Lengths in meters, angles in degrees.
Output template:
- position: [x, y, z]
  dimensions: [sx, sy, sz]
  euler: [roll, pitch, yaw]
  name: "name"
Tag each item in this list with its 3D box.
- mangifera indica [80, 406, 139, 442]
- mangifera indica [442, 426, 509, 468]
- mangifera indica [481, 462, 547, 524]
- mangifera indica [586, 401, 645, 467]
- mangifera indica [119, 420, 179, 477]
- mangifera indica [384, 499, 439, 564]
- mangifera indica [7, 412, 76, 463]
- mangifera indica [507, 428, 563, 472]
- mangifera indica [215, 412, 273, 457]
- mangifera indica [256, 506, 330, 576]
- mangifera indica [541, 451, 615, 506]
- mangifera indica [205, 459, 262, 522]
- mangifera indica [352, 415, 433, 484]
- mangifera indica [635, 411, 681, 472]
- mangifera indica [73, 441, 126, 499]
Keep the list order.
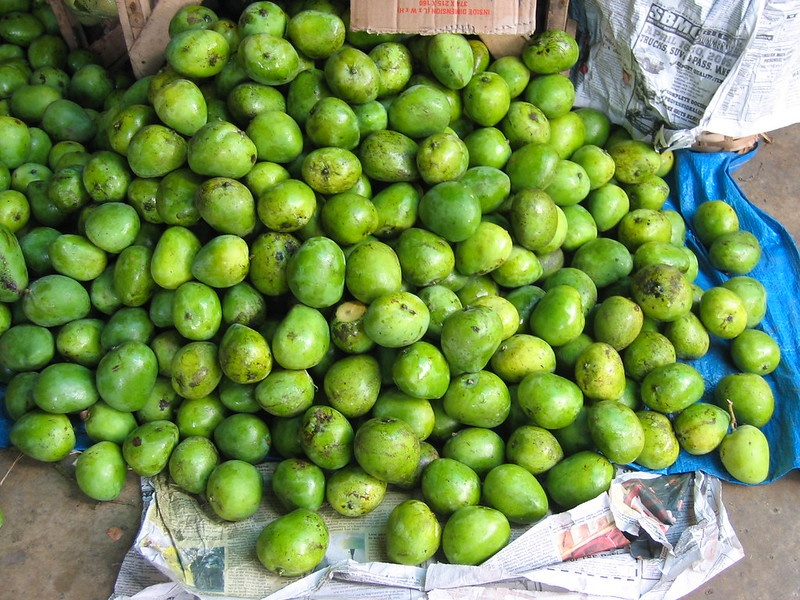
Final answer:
- position: [-1.548, 0.627, 3.820]
  dimensions: [0.237, 0.187, 0.185]
  euler: [32, 60, 2]
  name: "mangifera indica"
- position: [0.409, 0.803, 3.765]
  dimensions: [0.225, 0.264, 0.227]
  euler: [-19, 59, 26]
  name: "mangifera indica"
- position: [0.579, 0.996, 3.693]
  dimensions: [0.320, 0.246, 0.246]
  euler: [32, 64, 23]
  name: "mangifera indica"
- position: [1.113, 0.679, 3.858]
  dimensions: [0.244, 0.244, 0.334]
  euler: [-37, 92, 10]
  name: "mangifera indica"
- position: [-1.268, 0.754, 3.803]
  dimensions: [0.294, 0.216, 0.229]
  euler: [-37, 70, 8]
  name: "mangifera indica"
- position: [0.050, 1.172, 3.578]
  dimensions: [0.290, 0.202, 0.273]
  euler: [-37, 73, -17]
  name: "mangifera indica"
- position: [-1.931, 0.745, 3.890]
  dimensions: [0.350, 0.276, 0.295]
  euler: [-6, 86, 10]
  name: "mangifera indica"
- position: [0.702, 0.777, 3.813]
  dimensions: [0.258, 0.202, 0.210]
  euler: [17, 31, 12]
  name: "mangifera indica"
- position: [-0.823, 0.694, 3.857]
  dimensions: [0.282, 0.239, 0.241]
  euler: [8, 24, 12]
  name: "mangifera indica"
- position: [-0.528, 1.164, 3.595]
  dimensions: [0.342, 0.263, 0.271]
  euler: [-31, 105, -44]
  name: "mangifera indica"
- position: [0.910, 0.928, 3.706]
  dimensions: [0.314, 0.183, 0.244]
  euler: [-18, 53, -7]
  name: "mangifera indica"
- position: [-0.867, 1.007, 3.705]
  dimensions: [0.256, 0.264, 0.292]
  euler: [-12, 81, 0]
  name: "mangifera indica"
- position: [-0.053, 0.762, 3.686]
  dimensions: [0.327, 0.390, 0.320]
  euler: [6, 30, 13]
  name: "mangifera indica"
- position: [1.404, 0.750, 3.950]
  dimensions: [0.214, 0.229, 0.299]
  euler: [-37, 80, 24]
  name: "mangifera indica"
- position: [-1.532, 0.889, 3.728]
  dimensions: [0.221, 0.230, 0.306]
  euler: [-17, 67, -19]
  name: "mangifera indica"
